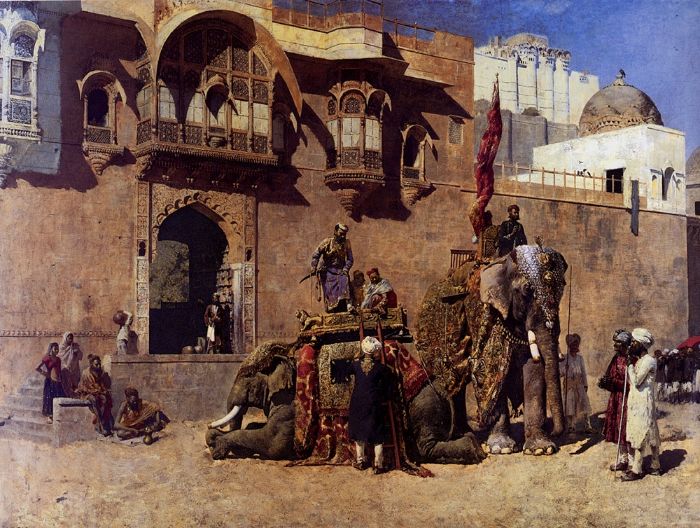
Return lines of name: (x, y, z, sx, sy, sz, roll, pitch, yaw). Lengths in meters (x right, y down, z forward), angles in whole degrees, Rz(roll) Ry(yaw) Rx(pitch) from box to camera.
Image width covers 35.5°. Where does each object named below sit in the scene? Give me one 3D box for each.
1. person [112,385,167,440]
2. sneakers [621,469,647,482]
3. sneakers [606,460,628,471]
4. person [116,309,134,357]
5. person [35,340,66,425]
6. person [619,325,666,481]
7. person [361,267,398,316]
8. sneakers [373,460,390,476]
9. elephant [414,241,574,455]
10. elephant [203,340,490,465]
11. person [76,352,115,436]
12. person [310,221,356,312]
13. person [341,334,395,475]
person: (-4.083, 2.924, 21.142, 0.784, 0.975, 1.315, 1, -3, 1)
sneakers: (4.503, 3.384, 17.426, 0.325, 0.151, 0.173, -3, 0, -12)
sneakers: (4.294, 3.270, 17.661, 0.313, 0.148, 0.116, 0, -4, 24)
person: (-4.871, 1.470, 23.292, 0.338, 0.886, 0.548, 2, -3, -2)
person: (-5.888, 2.325, 21.429, 0.537, 1.418, 1.213, 2, -3, -16)
person: (4.712, 2.274, 17.599, 0.543, 2.393, 0.679, 0, -3, 25)
person: (0.435, 0.493, 19.238, 0.532, 0.818, 0.527, -9, 0, 33)
sneakers: (0.494, 3.364, 18.009, 0.209, 0.128, 0.284, -1, -5, -9)
elephant: (2.555, 1.536, 19.632, 1.580, 3.489, 4.000, -1, -2, -28)
elephant: (-0.325, 2.215, 18.935, 4.585, 2.696, 2.079, 0, 14, 5)
person: (-4.926, 2.540, 21.098, 0.721, 1.448, 1.146, 2, -3, -14)
person: (-0.329, 0.081, 20.534, 0.763, 1.552, 0.694, 1, -2, 7)
person: (0.325, 2.352, 18.042, 0.688, 2.205, 0.419, 1, -2, 1)
